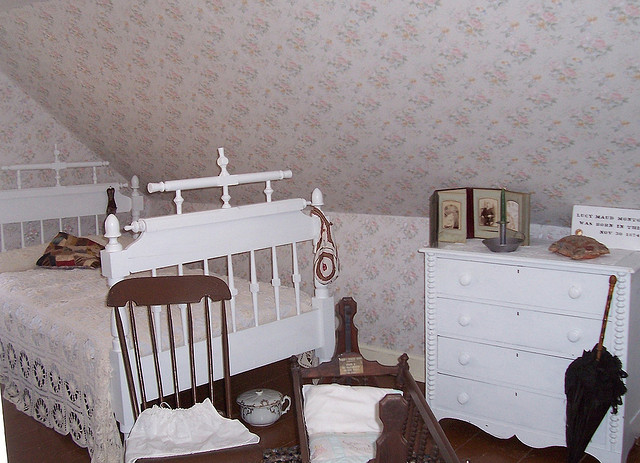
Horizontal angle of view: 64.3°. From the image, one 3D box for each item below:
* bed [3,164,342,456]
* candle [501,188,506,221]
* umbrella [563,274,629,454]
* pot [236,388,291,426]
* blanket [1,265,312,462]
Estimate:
[{"bbox_3d":[-1.329,0.214,3.897,1.849,1.612,2.772,-12,17,-37],"label":"bed"},{"bbox_3d":[1.078,-0.150,2.990,0.031,0.179,0.036,1,6,0],"label":"candle"},{"bbox_3d":[1.372,0.840,2.554,0.221,0.560,0.152,0,6,-11],"label":"umbrella"},{"bbox_3d":[-0.348,1.113,3.220,0.334,0.176,0.270,-2,-6,-6],"label":"pot"},{"bbox_3d":[-1.523,0.744,3.195,1.793,0.385,1.132,10,18,37],"label":"blanket"}]
